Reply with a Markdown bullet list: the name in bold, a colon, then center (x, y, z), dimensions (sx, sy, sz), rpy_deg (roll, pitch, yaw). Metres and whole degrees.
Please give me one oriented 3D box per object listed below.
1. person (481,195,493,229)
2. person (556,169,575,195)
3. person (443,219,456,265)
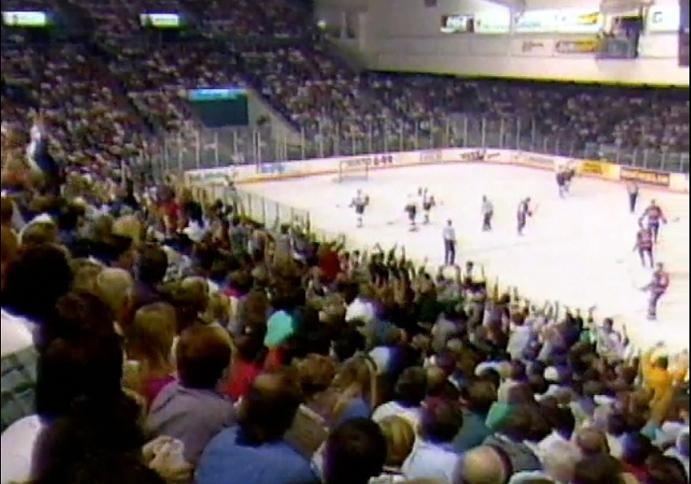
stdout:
- **person**: center (3.193, -0.698, 13.336), dimensions (0.257, 0.830, 1.532), rpy_deg (5, 13, 13)
- **person**: center (5.879, -1.584, 15.815), dimensions (0.510, 0.883, 0.361), rpy_deg (4, 36, 26)
- **person**: center (1.979, -0.030, 11.170), dimensions (0.247, 0.932, 1.044), rpy_deg (4, 13, 11)
